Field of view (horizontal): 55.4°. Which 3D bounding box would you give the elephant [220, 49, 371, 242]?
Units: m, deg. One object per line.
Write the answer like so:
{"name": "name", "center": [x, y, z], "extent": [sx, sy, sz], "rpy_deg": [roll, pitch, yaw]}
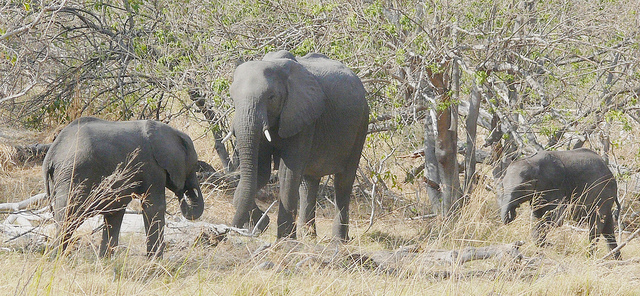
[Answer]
{"name": "elephant", "center": [-0.734, 0.123, 15.131], "extent": [2.301, 4.428, 4.822], "rpy_deg": [-2, -6, 29]}

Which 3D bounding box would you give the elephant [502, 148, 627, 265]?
{"name": "elephant", "center": [6.130, 1.236, 15.120], "extent": [3.303, 2.781, 1.741], "rpy_deg": [7, -7, -9]}

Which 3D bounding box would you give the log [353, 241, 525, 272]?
{"name": "log", "center": [2.584, 2.312, 12.897], "extent": [3.187, 0.383, 0.489], "rpy_deg": [-6, -13, -5]}

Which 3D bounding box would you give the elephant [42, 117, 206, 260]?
{"name": "elephant", "center": [-4.322, 0.874, 13.460], "extent": [3.169, 3.142, 1.934], "rpy_deg": [10, -8, -30]}
